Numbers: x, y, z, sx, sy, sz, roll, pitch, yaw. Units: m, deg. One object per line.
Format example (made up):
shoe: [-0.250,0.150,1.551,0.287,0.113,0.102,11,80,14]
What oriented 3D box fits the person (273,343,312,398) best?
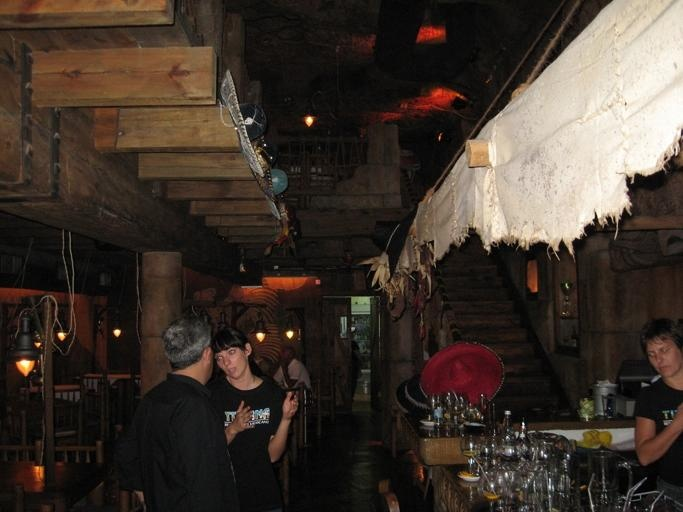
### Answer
person: [-0.859,2.034,16.285,0.808,1.523,0.670,0,-4,-4]

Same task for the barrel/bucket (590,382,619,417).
barrel/bucket: [3.145,1.689,11.039,0.238,0.394,0.381,-2,-4,41]

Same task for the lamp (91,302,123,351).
lamp: [-5.339,1.592,21.355,0.721,0.796,0.442,6,2,-16]

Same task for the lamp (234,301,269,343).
lamp: [-1.966,1.574,20.932,0.946,1.088,1.050,-1,-12,0]

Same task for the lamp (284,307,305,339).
lamp: [-1.045,1.534,21.170,0.580,0.876,0.628,0,-6,-4]

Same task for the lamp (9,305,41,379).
lamp: [-3.969,1.094,11.780,0.392,0.828,0.408,1,-3,18]
